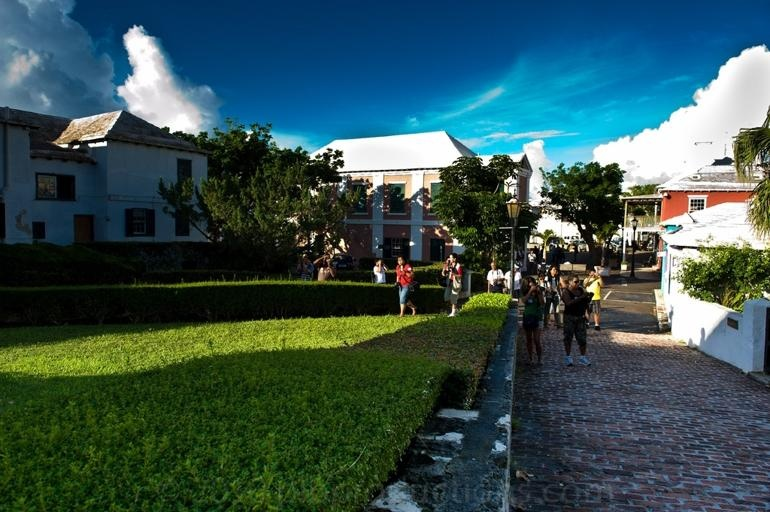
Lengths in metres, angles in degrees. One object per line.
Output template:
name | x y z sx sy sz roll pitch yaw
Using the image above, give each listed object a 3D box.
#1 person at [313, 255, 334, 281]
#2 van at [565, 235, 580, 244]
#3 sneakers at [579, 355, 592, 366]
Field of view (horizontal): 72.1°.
person | -2.568 0.515 21.894 0.750 1.708 0.927 -1 -21 -2
van | 26.226 -2.354 74.755 1.987 0.902 6.143 8 4 17
sneakers | 5.030 2.687 13.642 0.182 0.286 0.419 0 -7 -29
